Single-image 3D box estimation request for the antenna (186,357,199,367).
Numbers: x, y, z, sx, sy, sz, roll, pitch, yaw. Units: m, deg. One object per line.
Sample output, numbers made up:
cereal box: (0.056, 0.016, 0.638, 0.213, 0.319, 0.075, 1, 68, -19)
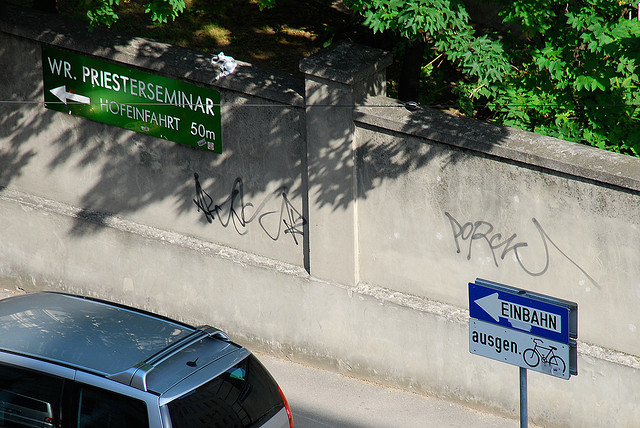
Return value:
antenna: (-1.401, 1.625, 9.784, 0.120, 0.093, 0.092, 13, -3, -9)
